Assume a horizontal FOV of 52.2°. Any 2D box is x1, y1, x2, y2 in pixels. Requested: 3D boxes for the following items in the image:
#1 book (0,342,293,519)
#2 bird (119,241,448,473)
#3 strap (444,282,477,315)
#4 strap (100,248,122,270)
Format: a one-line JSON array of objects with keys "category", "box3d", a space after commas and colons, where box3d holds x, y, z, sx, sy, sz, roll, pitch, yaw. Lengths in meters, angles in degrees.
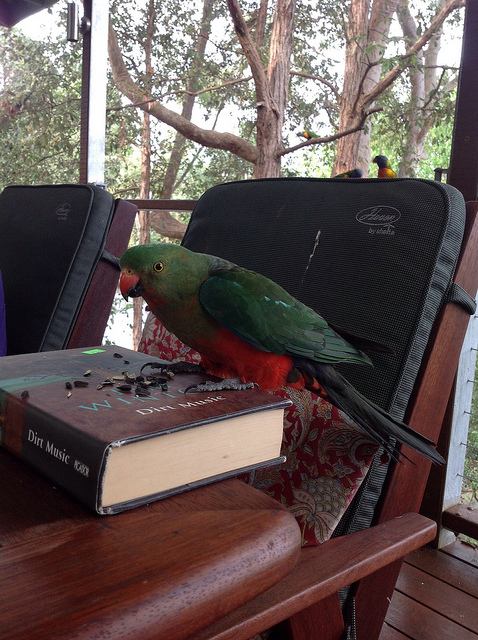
[{"category": "book", "box3d": [-0.067, 0.051, 0.378, 0.149, 0.039, 0.204, -6, 13, -39]}, {"category": "bird", "box3d": [0.062, 0.036, 0.685, 0.482, 0.174, 0.141, 15, -8, -16]}, {"category": "strap", "box3d": [0.336, -0.034, 0.722, 0.066, 0.039, 0.018, 27, -14, -30]}, {"category": "strap", "box3d": [-0.345, -0.164, 1.304, 0.023, 0.030, 0.075, -16, -30, 25]}]
